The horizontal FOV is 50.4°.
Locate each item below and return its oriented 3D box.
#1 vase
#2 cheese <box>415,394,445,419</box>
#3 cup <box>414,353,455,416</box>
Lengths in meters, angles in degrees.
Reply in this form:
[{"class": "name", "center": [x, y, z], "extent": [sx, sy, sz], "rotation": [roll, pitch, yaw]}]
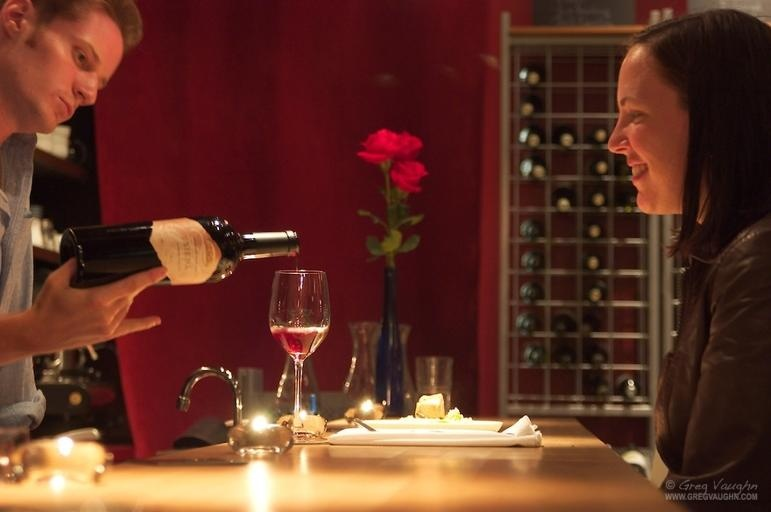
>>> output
[{"class": "vase", "center": [0.016, 0.257, 2.516], "extent": [0.091, 0.465, 0.071], "rotation": [4, -9, -42]}, {"class": "cheese", "center": [0.124, 0.427, 2.321], "extent": [0.067, 0.052, 0.068], "rotation": [1, -9, 7]}, {"class": "cup", "center": [0.163, 0.430, 2.679], "extent": [0.132, 0.210, 0.134], "rotation": [0, -14, 0]}]
